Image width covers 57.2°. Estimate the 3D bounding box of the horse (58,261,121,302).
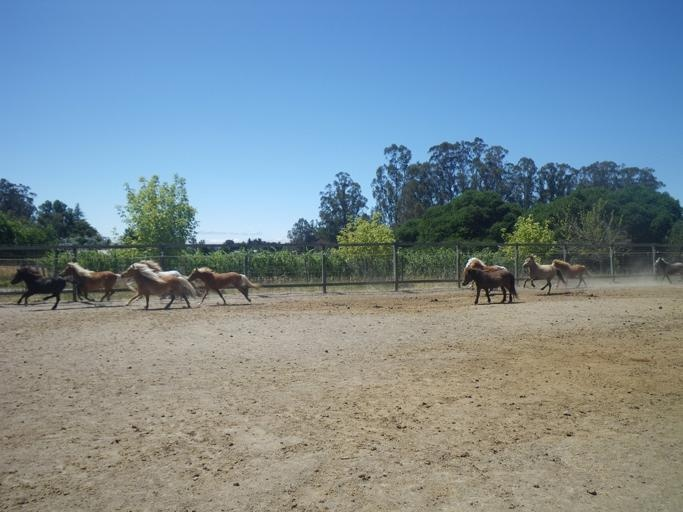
[{"bbox_3d":[-8.637,0.968,21.824,2.131,1.293,0.470,4,-12,-44],"label":"horse"}]
